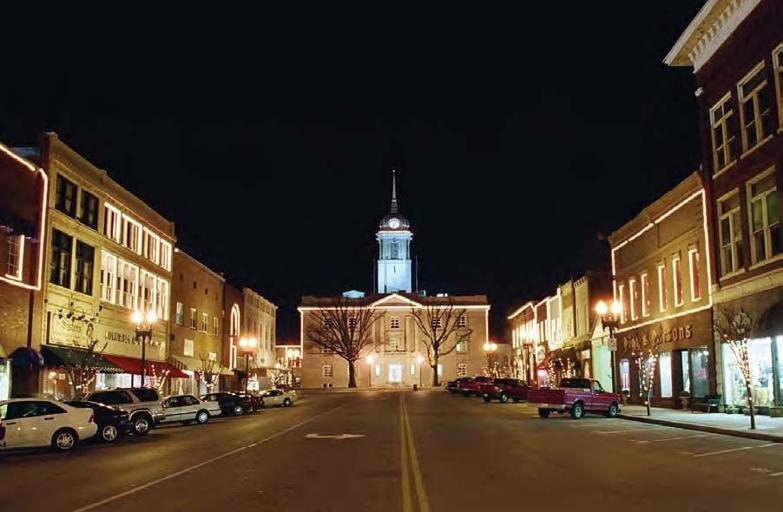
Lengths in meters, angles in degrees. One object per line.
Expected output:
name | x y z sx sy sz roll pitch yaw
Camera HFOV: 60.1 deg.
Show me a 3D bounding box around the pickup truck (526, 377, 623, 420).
pickup truck | 10.396 8.065 38.376 4.373 1.891 2.459 4 -10 -29
